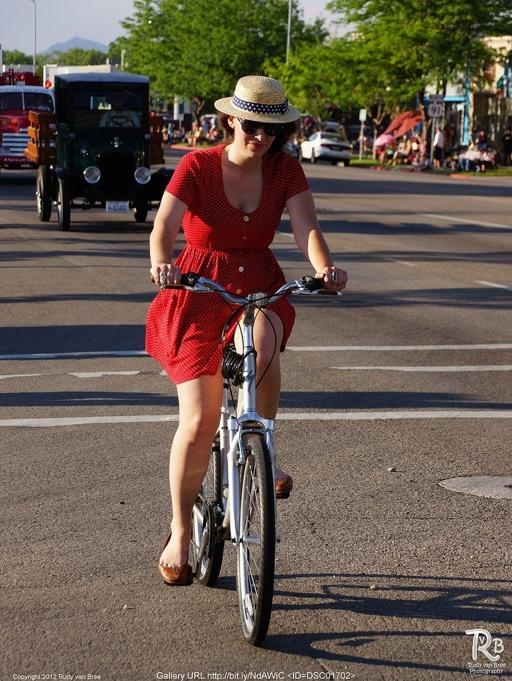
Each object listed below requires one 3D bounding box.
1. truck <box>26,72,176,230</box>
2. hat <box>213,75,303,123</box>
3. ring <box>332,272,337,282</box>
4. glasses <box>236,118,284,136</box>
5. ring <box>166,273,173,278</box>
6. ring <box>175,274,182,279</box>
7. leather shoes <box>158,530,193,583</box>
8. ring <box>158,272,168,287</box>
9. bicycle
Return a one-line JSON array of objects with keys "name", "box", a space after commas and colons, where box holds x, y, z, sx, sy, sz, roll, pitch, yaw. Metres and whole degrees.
[{"name": "truck", "box": [-3.617, -4.316, 18.675, 2.385, 2.577, 4.612, -1, 4, -15]}, {"name": "hat", "box": [-0.025, -0.789, 2.638, 0.217, 0.084, 0.215, 24, 37, 30]}, {"name": "ring", "box": [0.252, -0.207, 2.595, 0.008, 0.028, 0.015, -26, -49, 31]}, {"name": "glasses", "box": [0.023, -0.689, 2.627, 0.153, 0.055, 0.068, -3, 8, -24]}, {"name": "ring", "box": [-0.251, -0.193, 2.394, 0.015, 0.009, 0.007, 15, 4, -10]}, {"name": "ring", "box": [-0.227, -0.193, 2.411, 0.016, 0.014, 0.015, 0, 12, 0]}, {"name": "leather shoes", "box": [-0.285, 0.789, 2.970, 0.084, 0.064, 0.227, -1, 28, -5]}, {"name": "ring", "box": [-0.274, -0.182, 2.421, 0.024, 0.044, 0.054, -1, 7, -9]}, {"name": "bicycle", "box": [-0.036, 0.351, 2.554, 0.450, 1.135, 0.891, 0, 7, -1]}]
